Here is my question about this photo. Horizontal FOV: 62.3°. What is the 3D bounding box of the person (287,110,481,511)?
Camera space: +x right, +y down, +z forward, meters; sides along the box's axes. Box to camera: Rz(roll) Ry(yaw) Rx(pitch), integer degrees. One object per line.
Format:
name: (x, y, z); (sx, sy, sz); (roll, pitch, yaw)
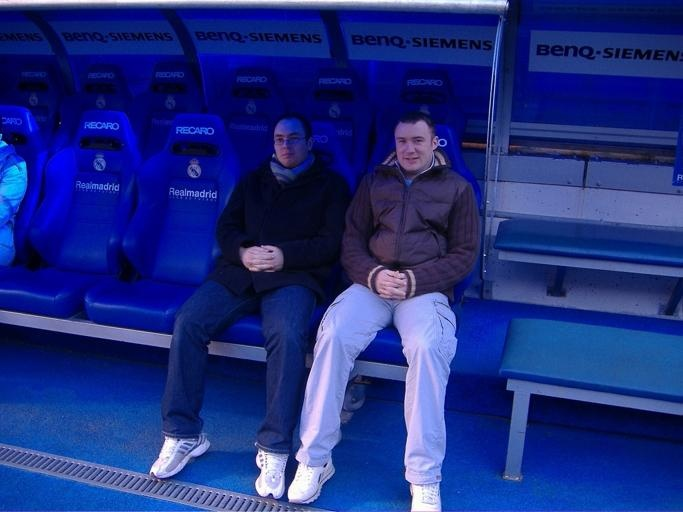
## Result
person: (0.260, 0.336, 2.864); (0.789, 1.800, 0.363); (4, -17, 12)

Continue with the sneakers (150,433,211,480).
sneakers: (-0.838, 0.985, 2.867); (0.122, 0.159, 0.373); (-3, 9, 25)

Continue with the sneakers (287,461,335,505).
sneakers: (-0.125, 1.046, 2.692); (0.108, 0.130, 0.284); (5, 27, 27)

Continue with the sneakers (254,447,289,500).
sneakers: (-0.345, 1.057, 2.758); (0.158, 0.218, 0.188); (9, -17, -4)
